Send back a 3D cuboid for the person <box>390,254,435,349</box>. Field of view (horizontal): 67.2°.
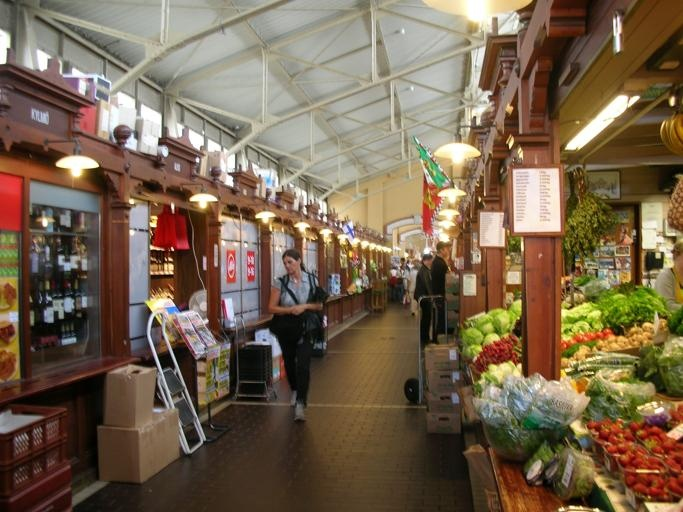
[{"bbox_3d":[2.038,1.392,15.508,0.586,2.389,0.938,-10,42,1],"label":"person"}]

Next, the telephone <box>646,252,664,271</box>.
[{"bbox_3d":[5.958,0.099,9.883,0.345,0.417,0.296,-1,-3,15],"label":"telephone"}]

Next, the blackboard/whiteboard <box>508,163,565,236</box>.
[{"bbox_3d":[1.391,-0.405,3.649,0.405,0.669,0.068,0,-5,2],"label":"blackboard/whiteboard"}]

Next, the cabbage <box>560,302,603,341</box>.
[{"bbox_3d":[2.195,0.596,4.745,0.354,0.157,0.346,-34,12,-34],"label":"cabbage"}]

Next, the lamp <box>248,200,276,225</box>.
[{"bbox_3d":[-1.336,-0.781,8.879,0.342,0.353,0.470,2,-2,-36],"label":"lamp"}]

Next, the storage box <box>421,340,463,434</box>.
[{"bbox_3d":[1.175,1.554,5.942,0.411,1.032,0.427,-1,0,13],"label":"storage box"}]

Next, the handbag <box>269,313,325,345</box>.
[{"bbox_3d":[-0.513,0.860,6.214,0.460,0.406,0.417,2,-1,-9],"label":"handbag"}]

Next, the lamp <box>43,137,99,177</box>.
[{"bbox_3d":[-2.474,-0.881,4.728,0.460,0.354,0.336,-3,-2,44],"label":"lamp"}]

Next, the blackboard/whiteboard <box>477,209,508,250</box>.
[{"bbox_3d":[1.860,-0.336,6.325,0.424,0.645,0.062,0,3,-2],"label":"blackboard/whiteboard"}]

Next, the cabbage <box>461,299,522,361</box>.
[{"bbox_3d":[1.672,0.815,5.820,0.696,0.310,0.727,-39,12,17],"label":"cabbage"}]

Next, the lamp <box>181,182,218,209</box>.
[{"bbox_3d":[-1.901,-0.814,6.845,0.339,0.350,0.389,-1,5,10],"label":"lamp"}]

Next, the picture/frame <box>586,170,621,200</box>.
[{"bbox_3d":[4.924,-1.337,9.624,0.615,0.716,0.051,2,-4,-2],"label":"picture/frame"}]
